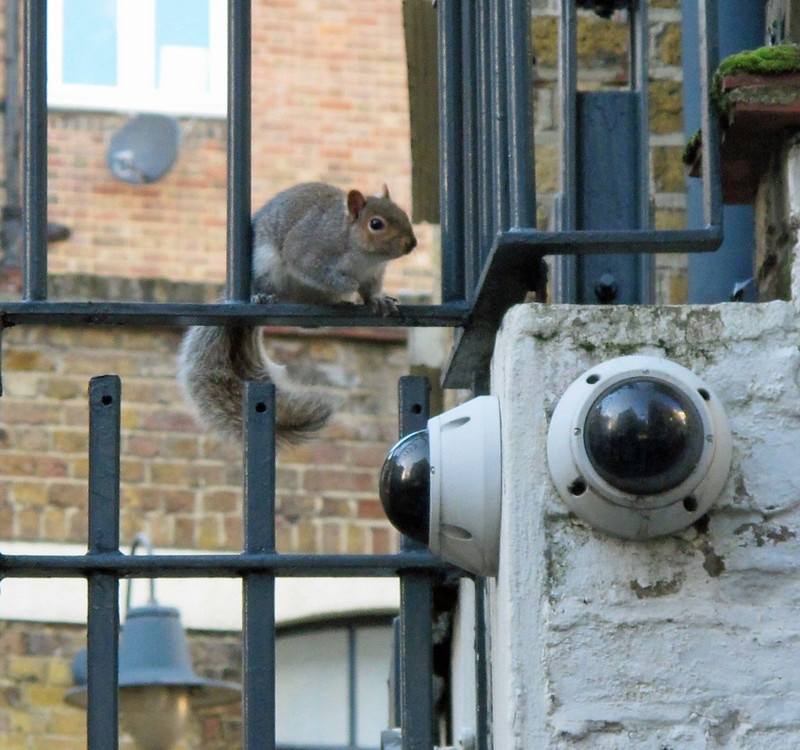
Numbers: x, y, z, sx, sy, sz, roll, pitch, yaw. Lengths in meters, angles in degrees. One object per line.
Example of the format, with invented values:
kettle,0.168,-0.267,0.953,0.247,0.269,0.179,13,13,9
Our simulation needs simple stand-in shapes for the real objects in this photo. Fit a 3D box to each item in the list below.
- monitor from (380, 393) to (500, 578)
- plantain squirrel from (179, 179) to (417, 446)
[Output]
monitor,0.141,0.372,10.913,0.414,0.543,0.208,-7,-15,5
plantain squirrel,-0.398,-0.293,12.988,0.621,1.192,0.768,-5,12,-19
